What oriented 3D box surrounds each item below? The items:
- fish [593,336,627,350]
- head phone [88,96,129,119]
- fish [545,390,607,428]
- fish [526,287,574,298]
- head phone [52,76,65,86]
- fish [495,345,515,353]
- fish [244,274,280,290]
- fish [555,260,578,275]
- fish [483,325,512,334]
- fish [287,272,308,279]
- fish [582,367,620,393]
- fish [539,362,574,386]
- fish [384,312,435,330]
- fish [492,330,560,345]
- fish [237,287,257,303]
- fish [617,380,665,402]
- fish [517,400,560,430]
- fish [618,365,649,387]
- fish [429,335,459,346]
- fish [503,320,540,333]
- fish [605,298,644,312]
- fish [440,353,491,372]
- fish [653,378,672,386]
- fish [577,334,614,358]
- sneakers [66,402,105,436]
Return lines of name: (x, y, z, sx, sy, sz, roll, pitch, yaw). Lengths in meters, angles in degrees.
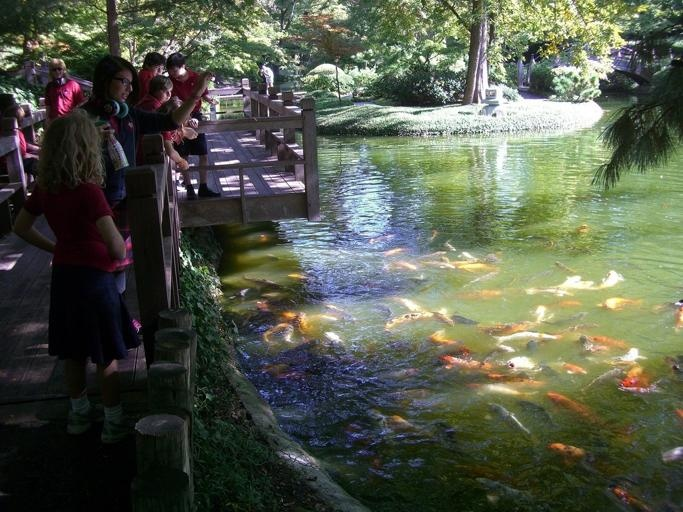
fish: (3.808, 1.199, 6.984, 0.498, 0.125, 0.129, 9, 24, 8)
head phone: (-1.824, -1.148, 3.843, 0.228, 0.179, 0.207, 6, 14, -4)
fish: (2.660, 1.699, 5.691, 0.201, 0.133, 0.733, 23, -1, -38)
fish: (3.571, 0.599, 8.498, 0.719, 0.084, 0.305, 0, 9, 11)
head phone: (-3.991, -2.470, 6.943, 0.157, 0.082, 0.148, 5, 17, 22)
fish: (2.284, 1.264, 6.825, 0.228, 0.059, 0.174, 3, 10, 30)
fish: (-1.482, 0.465, 9.140, 0.785, 0.213, 0.309, 12, 1, 14)
fish: (4.274, 0.199, 9.407, 0.288, 0.157, 0.578, -3, 8, -2)
fish: (2.323, 1.078, 7.301, 0.211, 0.035, 0.191, -11, 14, -34)
fish: (-0.825, 0.355, 9.361, 0.452, 0.076, 0.284, 4, 10, 36)
fish: (3.262, 1.524, 6.167, 0.860, 0.049, 0.214, -12, 16, -38)
fish: (2.724, 1.491, 6.310, 0.152, 0.059, 0.240, -11, 25, -18)
fish: (1.019, 0.963, 7.604, 0.894, 0.123, 0.276, -6, 9, -27)
fish: (2.688, 1.141, 7.129, 0.953, 0.074, 0.262, -3, 8, -5)
fish: (-1.676, 0.655, 8.622, 0.332, 0.123, 0.525, -3, 9, -6)
fish: (3.612, 1.597, 5.959, 0.395, 0.092, 0.469, 6, 12, 44)
fish: (2.202, 1.762, 5.520, 0.150, 0.045, 0.408, -15, 13, -1)
fish: (3.662, 1.483, 6.118, 0.207, 0.070, 0.251, -4, 21, 23)
fish: (1.441, 1.174, 7.036, 0.294, 0.087, 0.367, -6, 9, -25)
fish: (2.722, 1.041, 7.372, 0.336, 0.065, 0.194, -12, 15, -18)
fish: (4.584, 0.752, 8.042, 0.722, 0.111, 0.338, -7, 10, -31)
fish: (1.640, 1.391, 6.487, 0.632, 0.105, 0.241, 1, 9, 18)
fish: (3.974, 1.541, 6.080, 0.107, 0.022, 0.098, -14, 12, -22)
fish: (3.502, 1.253, 6.853, 0.282, 0.068, 0.256, -1, 24, -17)
sneakers: (-1.746, 1.104, 3.461, 0.132, 0.136, 0.340, 7, 14, 23)
